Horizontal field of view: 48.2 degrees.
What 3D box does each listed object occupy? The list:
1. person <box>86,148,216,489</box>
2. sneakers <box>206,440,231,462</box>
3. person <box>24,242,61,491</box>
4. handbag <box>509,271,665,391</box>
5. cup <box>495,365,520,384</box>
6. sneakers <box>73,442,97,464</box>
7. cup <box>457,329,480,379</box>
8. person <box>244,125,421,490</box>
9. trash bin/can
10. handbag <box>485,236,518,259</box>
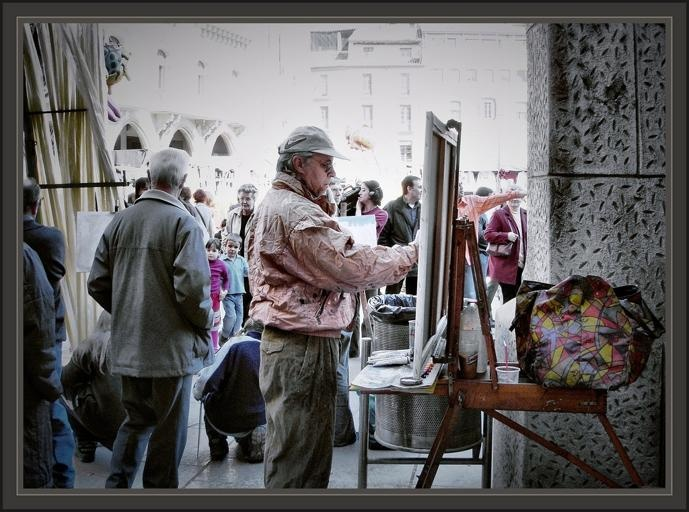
[{"bbox_3d":[-1.285,0.493,5.437,0.820,2.426,0.738,6,5,23],"label":"person"},{"bbox_3d":[-0.964,1.489,5.933,0.077,0.175,0.235,0,-1,4],"label":"sneakers"},{"bbox_3d":[-1.979,0.714,4.985,0.245,1.563,0.218,-4,7,-20],"label":"person"},{"bbox_3d":[1.356,0.444,4.347,0.810,0.610,0.643,1,-9,10],"label":"handbag"},{"bbox_3d":[0.916,0.654,4.283,0.097,0.066,0.096,-1,-2,0],"label":"cup"},{"bbox_3d":[-1.946,1.481,5.854,0.132,0.173,0.176,1,-18,-4],"label":"sneakers"},{"bbox_3d":[0.681,0.560,4.232,0.115,0.189,0.117,0,8,0],"label":"cup"},{"bbox_3d":[-0.146,0.289,4.592,0.812,2.122,0.529,-3,7,-11],"label":"person"},{"bbox_3d":[0.440,0.950,5.209,0.469,0.551,0.492,-12,28,-4],"label":"trash bin/can"},{"bbox_3d":[1.757,-0.107,8.510,0.225,0.229,0.089,1,-4,31],"label":"handbag"}]
